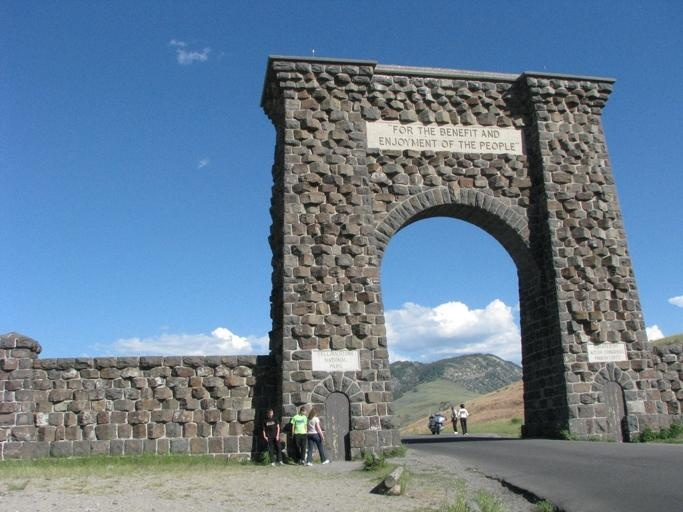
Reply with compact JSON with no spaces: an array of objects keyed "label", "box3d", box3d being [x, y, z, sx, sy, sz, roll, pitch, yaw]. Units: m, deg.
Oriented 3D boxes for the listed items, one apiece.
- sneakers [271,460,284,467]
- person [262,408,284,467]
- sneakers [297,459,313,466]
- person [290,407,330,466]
[{"label":"sneakers","box3d":[-2.109,6.942,20.133,0.421,0.177,0.140,-4,-15,8]},{"label":"person","box3d":[-2.314,6.192,20.722,0.614,1.754,1.049,-1,-15,-7]},{"label":"sneakers","box3d":[-1.207,6.895,20.156,0.484,0.202,0.177,-13,-22,23]},{"label":"person","box3d":[-1.073,6.100,20.650,1.188,1.910,1.125,-4,-15,3]}]
